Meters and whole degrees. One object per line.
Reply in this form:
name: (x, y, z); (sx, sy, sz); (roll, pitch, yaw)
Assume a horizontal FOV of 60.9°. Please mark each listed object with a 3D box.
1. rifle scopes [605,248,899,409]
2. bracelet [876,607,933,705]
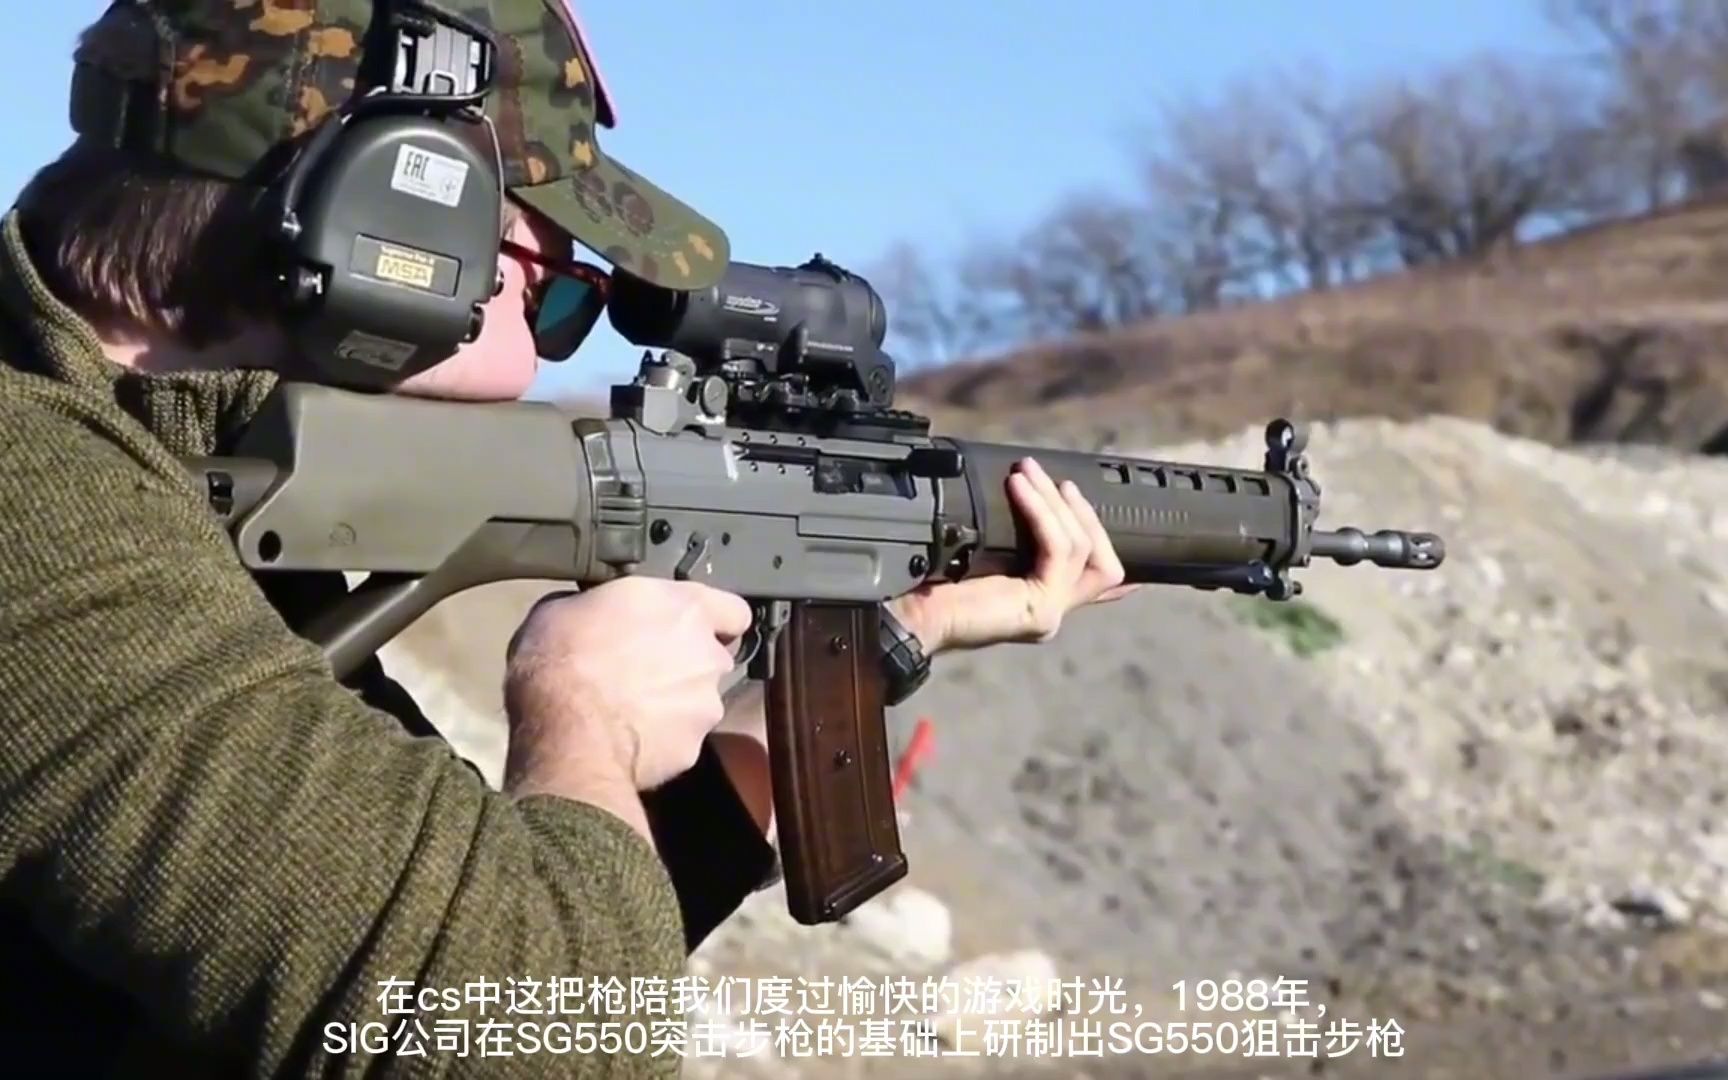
rifle scopes: (-0.256, -0.541, 3.790); (0.923, 0.400, 0.270); (-3, 9, -45)
bracelet: (0.094, 0.296, 3.759); (0.152, 0.233, 0.079); (15, -11, -22)
